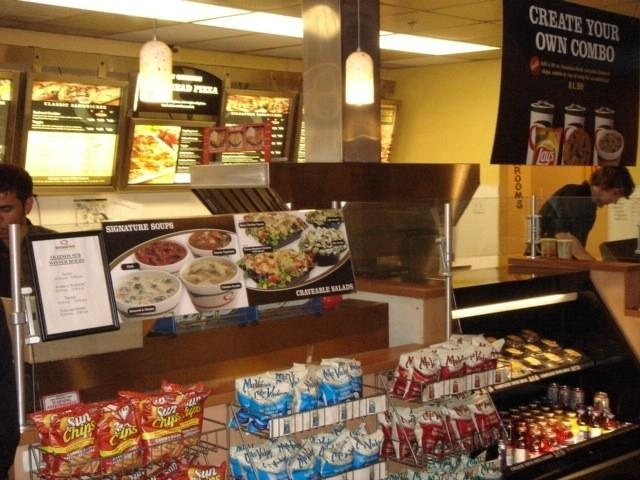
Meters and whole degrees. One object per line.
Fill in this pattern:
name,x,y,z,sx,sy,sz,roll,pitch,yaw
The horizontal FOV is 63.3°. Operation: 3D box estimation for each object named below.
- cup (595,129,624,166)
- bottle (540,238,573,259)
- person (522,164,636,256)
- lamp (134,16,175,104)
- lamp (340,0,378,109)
cup,2.398,-0.766,4.356,0.284,0.304,0.122,-1,7,-9
bottle,1.624,0.066,3.584,0.174,0.114,0.121,1,3,26
person,2.011,-0.232,3.900,0.583,0.622,0.917,2,7,30
lamp,-1.072,-1.093,3.366,0.209,0.364,0.173,-3,6,-11
lamp,0.274,-1.351,3.774,0.205,0.747,0.424,-2,6,2
